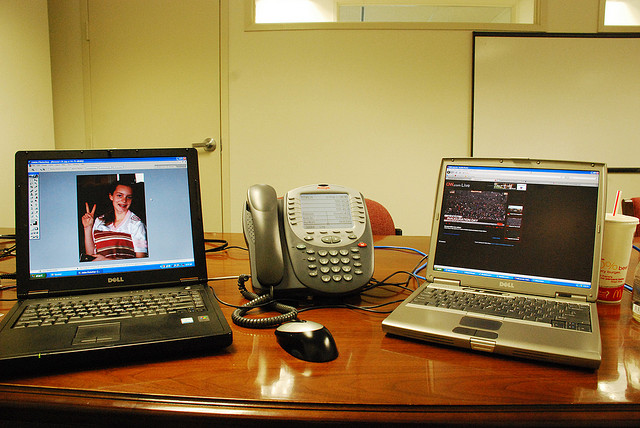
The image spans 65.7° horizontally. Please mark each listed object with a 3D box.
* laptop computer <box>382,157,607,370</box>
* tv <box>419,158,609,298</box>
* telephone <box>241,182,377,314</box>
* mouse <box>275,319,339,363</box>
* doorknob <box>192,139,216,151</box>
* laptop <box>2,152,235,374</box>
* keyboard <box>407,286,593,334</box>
[{"bbox_3d":[0.477,0.088,1.291,0.519,0.338,0.550,9,24,37],"label":"laptop computer"},{"bbox_3d":[0.577,0.032,1.546,0.592,0.373,0.402,6,3,15],"label":"tv"},{"bbox_3d":[-0.049,0.049,1.490,0.428,0.168,0.431,6,31,-5],"label":"telephone"},{"bbox_3d":[-0.043,0.310,1.224,0.094,0.081,0.165,-10,13,-43],"label":"mouse"},{"bbox_3d":[-0.806,-0.473,3.379,0.128,0.071,0.029,-1,5,4],"label":"doorknob"},{"bbox_3d":[-0.568,0.115,1.405,0.584,0.568,0.438,-3,7,-17],"label":"laptop"},{"bbox_3d":[0.468,0.249,1.304,0.450,0.051,0.121,2,10,15],"label":"keyboard"}]
